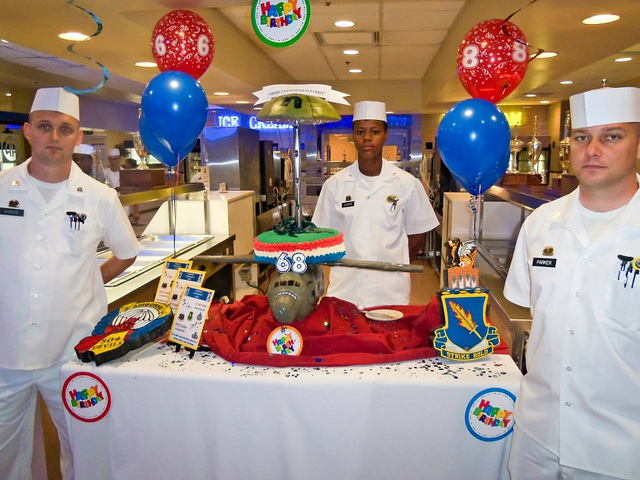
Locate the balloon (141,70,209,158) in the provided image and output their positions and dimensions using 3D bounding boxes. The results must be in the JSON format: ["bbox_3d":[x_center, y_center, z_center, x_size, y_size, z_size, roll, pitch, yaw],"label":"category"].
[{"bbox_3d":[-0.699,-0.600,2.163,0.295,0.446,0.301,-4,-5,-12],"label":"balloon"}]

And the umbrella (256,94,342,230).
[{"bbox_3d":[-0.115,-0.367,2.225,0.480,0.884,0.509,-1,3,-10],"label":"umbrella"}]

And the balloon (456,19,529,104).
[{"bbox_3d":[0.906,-0.898,2.359,0.326,0.591,0.349,-1,14,4],"label":"balloon"}]
